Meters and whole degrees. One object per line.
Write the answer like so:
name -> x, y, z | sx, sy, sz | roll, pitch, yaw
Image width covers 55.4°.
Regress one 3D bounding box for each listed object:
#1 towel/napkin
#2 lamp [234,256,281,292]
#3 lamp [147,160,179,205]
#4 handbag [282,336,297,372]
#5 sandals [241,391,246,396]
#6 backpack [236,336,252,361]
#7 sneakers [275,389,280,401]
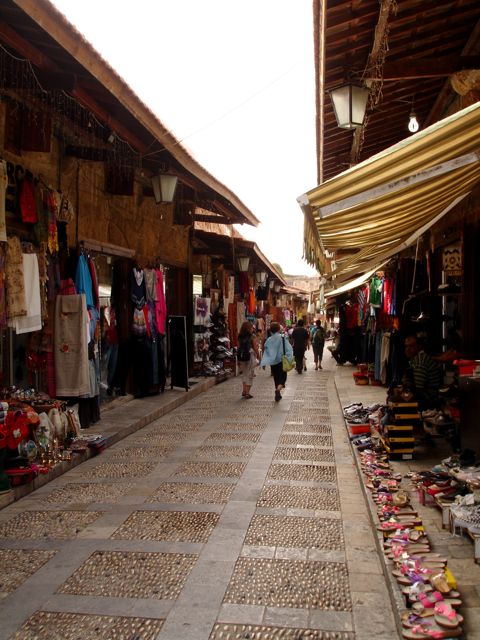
towel/napkin -> -2.603, -0.379, 5.450 | 0.223, 1.063, 0.711 | -3, -2, -9
lamp -> 0.768, -2.003, 21.017 | 0.623, 1.019, 2.426 | 0, -8, 22
lamp -> -1.449, -2.552, 8.670 | 0.502, 0.680, 0.601 | 1, 10, -3
handbag -> 1.042, 0.782, 10.195 | 0.248, 0.640, 0.382 | -4, -2, 9
sandals -> 0.067, 1.718, 10.610 | 0.087, 0.131, 0.100 | 0, -5, 3
backpack -> 0.094, 0.694, 10.351 | 0.345, 0.405, 0.282 | -4, -2, -1
sneakers -> 0.812, 1.659, 10.011 | 0.075, 0.252, 0.093 | -2, -3, 2
